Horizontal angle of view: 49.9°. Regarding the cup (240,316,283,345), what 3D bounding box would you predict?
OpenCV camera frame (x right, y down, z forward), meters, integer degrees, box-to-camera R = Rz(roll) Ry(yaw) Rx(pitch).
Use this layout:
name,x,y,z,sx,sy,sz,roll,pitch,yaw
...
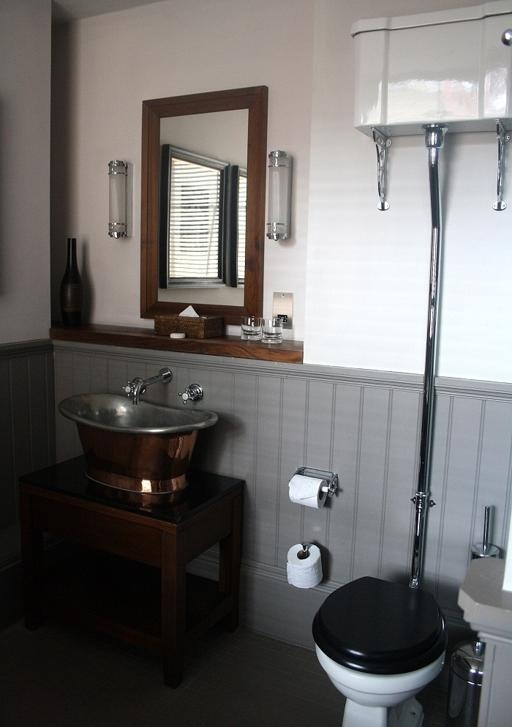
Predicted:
name,x,y,z,sx,sy,sz,roll,pitch,yaw
cup,0.021,-0.128,1.991,0.155,0.085,0.177,2,11,0

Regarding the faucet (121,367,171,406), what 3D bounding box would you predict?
name,x,y,z,sx,sy,sz,roll,pitch,yaw
faucet,-0.398,0.092,1.978,0.083,0.100,0.236,6,18,20

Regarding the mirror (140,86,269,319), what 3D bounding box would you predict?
name,x,y,z,sx,sy,sz,roll,pitch,yaw
mirror,-0.228,-0.606,2.185,0.605,0.881,0.046,7,11,29

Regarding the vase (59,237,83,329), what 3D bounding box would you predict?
name,x,y,z,sx,sy,sz,roll,pitch,yaw
vase,-0.811,-0.357,2.403,0.092,0.374,0.135,-2,10,-19

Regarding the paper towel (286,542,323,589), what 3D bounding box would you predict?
name,x,y,z,sx,sy,sz,roll,pitch,yaw
paper towel,0.144,0.642,1.775,0.123,0.089,0.124,-8,10,-40

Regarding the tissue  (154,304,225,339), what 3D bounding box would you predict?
name,x,y,z,sx,sy,sz,roll,pitch,yaw
tissue ,-0.256,-0.143,2.100,0.272,0.081,0.169,1,11,-6

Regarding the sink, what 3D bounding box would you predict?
name,x,y,z,sx,sy,sz,roll,pitch,yaw
sink,-0.422,0.267,1.833,0.592,0.264,0.363,11,14,37

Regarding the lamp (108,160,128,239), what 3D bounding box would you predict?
name,x,y,z,sx,sy,sz,roll,pitch,yaw
lamp,-0.592,-0.704,2.367,0.064,0.319,0.075,8,12,33

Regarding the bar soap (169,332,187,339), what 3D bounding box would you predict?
name,x,y,z,sx,sy,sz,roll,pitch,yaw
bar soap,-0.299,-0.102,2.051,0.069,0.015,0.085,2,12,2

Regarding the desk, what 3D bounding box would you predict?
name,x,y,z,sx,sy,sz,roll,pitch,yaw
desk,-0.431,0.664,1.930,0.597,0.582,0.460,7,7,22

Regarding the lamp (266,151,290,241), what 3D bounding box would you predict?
name,x,y,z,sx,sy,sz,roll,pitch,yaw
lamp,0.077,-0.603,1.987,0.094,0.311,0.092,3,10,11

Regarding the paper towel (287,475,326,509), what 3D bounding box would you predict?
name,x,y,z,sx,sy,sz,roll,pitch,yaw
paper towel,0.162,0.378,1.741,0.112,0.111,0.088,7,18,35
